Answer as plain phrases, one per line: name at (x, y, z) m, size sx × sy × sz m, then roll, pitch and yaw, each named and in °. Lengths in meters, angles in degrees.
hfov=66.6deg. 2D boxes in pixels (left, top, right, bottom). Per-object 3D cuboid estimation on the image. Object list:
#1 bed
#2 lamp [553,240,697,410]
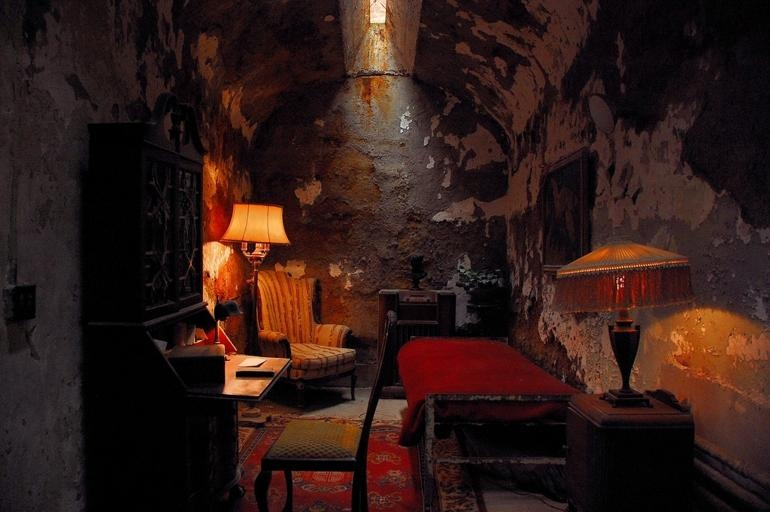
bed at (0.713, 1.157, 3.927) m, size 0.998 × 0.521 × 1.663 m, roll 0°, pitch -1°, yaw 1°
lamp at (1.068, 0.359, 3.239) m, size 0.805 × 0.898 × 0.754 m, roll -3°, pitch 9°, yaw -4°
